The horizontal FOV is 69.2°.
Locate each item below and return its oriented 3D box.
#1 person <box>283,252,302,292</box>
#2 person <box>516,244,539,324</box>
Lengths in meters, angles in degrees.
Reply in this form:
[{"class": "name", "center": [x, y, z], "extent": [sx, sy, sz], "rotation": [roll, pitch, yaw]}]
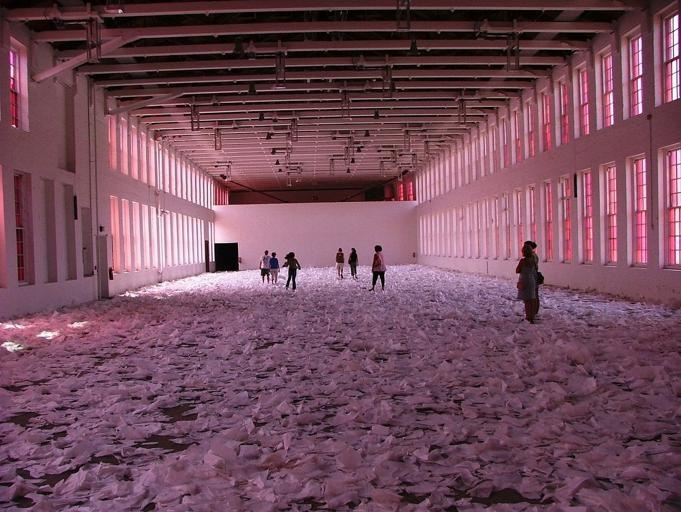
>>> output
[{"class": "person", "center": [-2.294, 0.789, 23.940], "extent": [1.269, 2.471, 0.864], "rotation": [1, 27, -5]}, {"class": "person", "center": [4.055, 0.558, 10.741], "extent": [0.413, 1.328, 0.650], "rotation": [-1, -1, 21]}]
